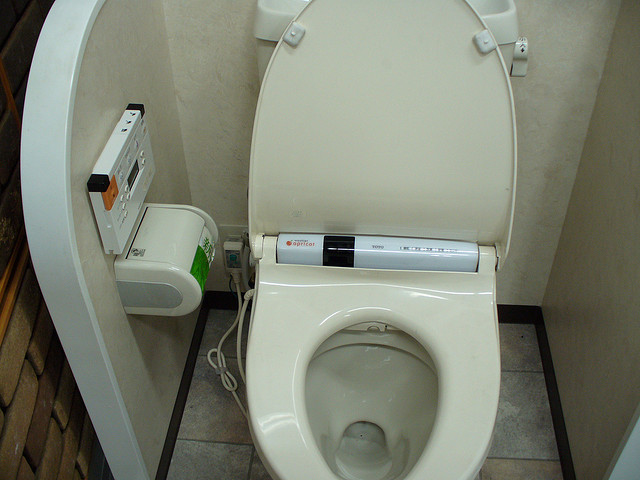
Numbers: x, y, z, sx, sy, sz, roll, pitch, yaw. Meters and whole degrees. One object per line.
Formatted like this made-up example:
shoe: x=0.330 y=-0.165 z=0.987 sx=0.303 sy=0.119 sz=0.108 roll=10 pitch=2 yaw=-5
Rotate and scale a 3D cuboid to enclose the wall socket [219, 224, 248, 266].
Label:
wall socket: x=-0.266 y=0.006 z=1.775 sx=0.100 sy=0.157 sz=0.090 roll=3 pitch=53 yaw=-1
